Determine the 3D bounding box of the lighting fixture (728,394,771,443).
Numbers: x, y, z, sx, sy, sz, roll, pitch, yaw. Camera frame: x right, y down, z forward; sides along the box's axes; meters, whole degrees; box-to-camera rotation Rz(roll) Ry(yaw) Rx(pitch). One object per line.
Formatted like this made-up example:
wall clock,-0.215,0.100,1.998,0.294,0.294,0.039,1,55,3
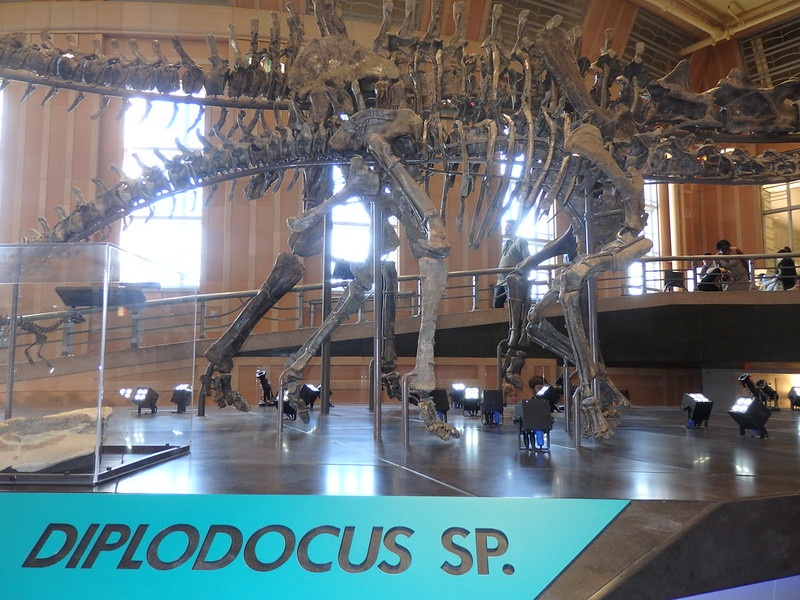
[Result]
lighting fixture,3.109,1.016,5.984,0.271,0.287,0.230,4,-2,-22
